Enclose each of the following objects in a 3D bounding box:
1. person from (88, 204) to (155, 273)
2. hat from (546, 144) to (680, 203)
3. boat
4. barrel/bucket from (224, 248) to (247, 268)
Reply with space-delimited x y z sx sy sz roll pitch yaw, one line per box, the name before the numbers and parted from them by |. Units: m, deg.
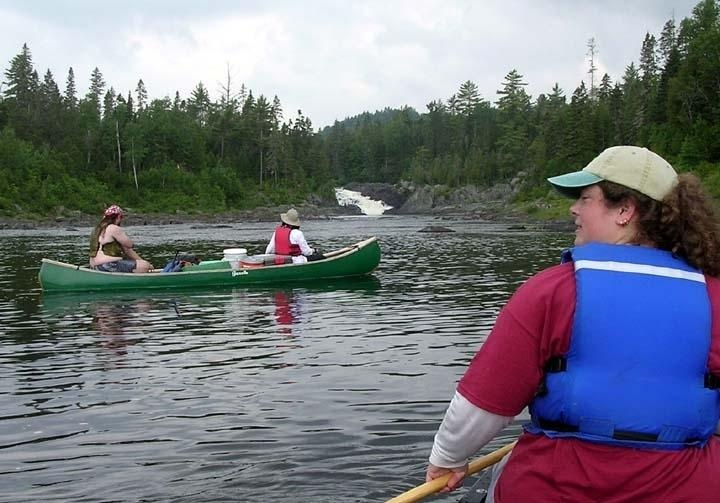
person | -4.888 -0.207 15.080 1.049 1.411 1.428 -2 8 -2
hat | 1.410 -0.426 4.186 0.654 0.278 0.407 8 -1 32
boat | -3.532 0.363 17.796 8.780 1.214 1.324 -4 -3 -20
barrel/bucket | -2.779 0.144 16.604 0.521 0.329 0.507 0 0 0
